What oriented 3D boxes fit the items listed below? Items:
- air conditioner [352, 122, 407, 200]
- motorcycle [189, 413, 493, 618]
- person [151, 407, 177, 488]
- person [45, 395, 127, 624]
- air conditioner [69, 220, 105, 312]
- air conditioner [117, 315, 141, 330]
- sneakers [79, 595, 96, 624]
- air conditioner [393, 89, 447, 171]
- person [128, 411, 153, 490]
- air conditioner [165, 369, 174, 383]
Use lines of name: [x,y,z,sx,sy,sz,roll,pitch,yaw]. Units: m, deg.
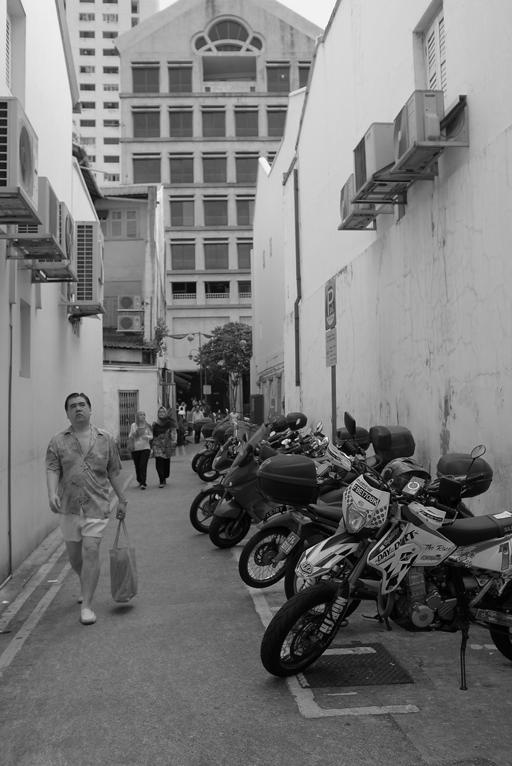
air conditioner: [1.522,-2.766,8.618,0.403,0.722,0.881,1,10,-2]
motorcycle: [0.724,1.061,6.466,2.310,1.803,1.373,-1,2,-25]
person: [-2.146,1.488,16.202,0.510,1.851,1.498,0,-5,-9]
person: [-1.332,0.927,5.492,0.622,1.722,0.634,1,-5,-19]
air conditioner: [-3.037,-2.067,12.396,0.508,1.497,1.403,0,-5,-4]
air conditioner: [-5.924,-2.760,32.731,0.967,0.911,0.671,1,-9,-5]
sneakers: [-1.280,1.708,5.209,0.095,0.227,0.265,-1,-5,0]
air conditioner: [1.654,-2.611,7.261,0.261,0.605,0.850,-3,-1,-9]
person: [-2.592,1.522,15.700,0.510,1.743,1.390,0,-5,-11]
air conditioner: [-6.286,-0.466,50.439,0.613,1.508,0.697,0,-13,-12]
